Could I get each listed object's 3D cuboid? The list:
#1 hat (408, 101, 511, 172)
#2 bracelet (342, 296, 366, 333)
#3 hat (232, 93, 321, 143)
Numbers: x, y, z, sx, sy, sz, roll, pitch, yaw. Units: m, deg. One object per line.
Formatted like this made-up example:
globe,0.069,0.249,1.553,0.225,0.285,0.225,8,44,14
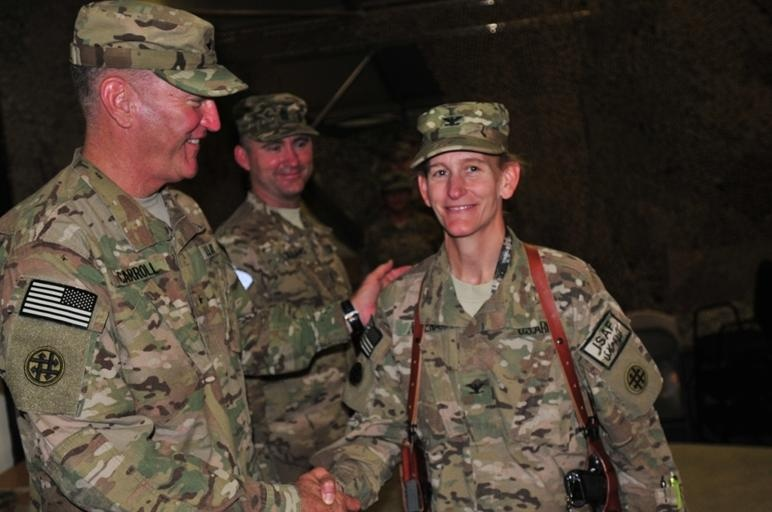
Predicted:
hat,0.353,-0.557,4.443,0.325,0.195,0.397,-4,4,30
bracelet,-0.171,0.312,4.969,0.140,0.089,0.126,33,-23,55
hat,-0.699,-0.839,5.607,0.311,0.151,0.406,-6,16,-29
